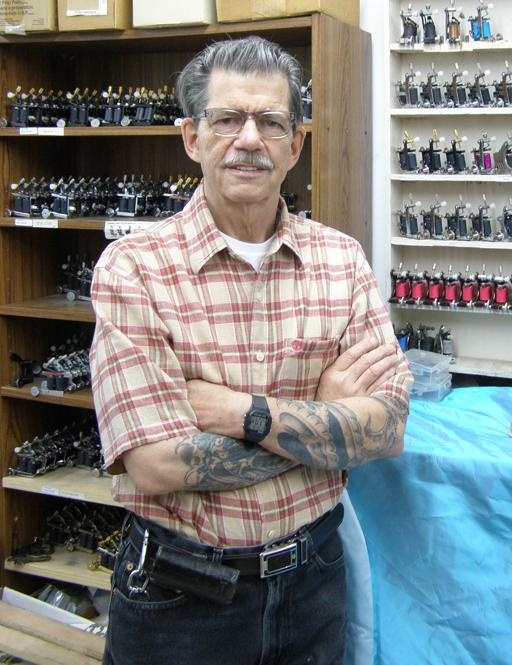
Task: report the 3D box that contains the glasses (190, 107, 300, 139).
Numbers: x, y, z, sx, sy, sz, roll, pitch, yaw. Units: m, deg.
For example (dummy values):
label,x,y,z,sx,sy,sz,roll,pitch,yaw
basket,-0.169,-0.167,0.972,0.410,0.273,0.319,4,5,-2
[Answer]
label,x,y,z,sx,sy,sz,roll,pitch,yaw
glasses,-0.017,-0.332,0.883,0.141,0.057,0.054,-2,4,-7

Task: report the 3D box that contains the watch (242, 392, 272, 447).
label,x,y,z,sx,sy,sz,roll,pitch,yaw
watch,0.003,0.136,0.845,0.043,0.068,0.070,10,-12,-12
